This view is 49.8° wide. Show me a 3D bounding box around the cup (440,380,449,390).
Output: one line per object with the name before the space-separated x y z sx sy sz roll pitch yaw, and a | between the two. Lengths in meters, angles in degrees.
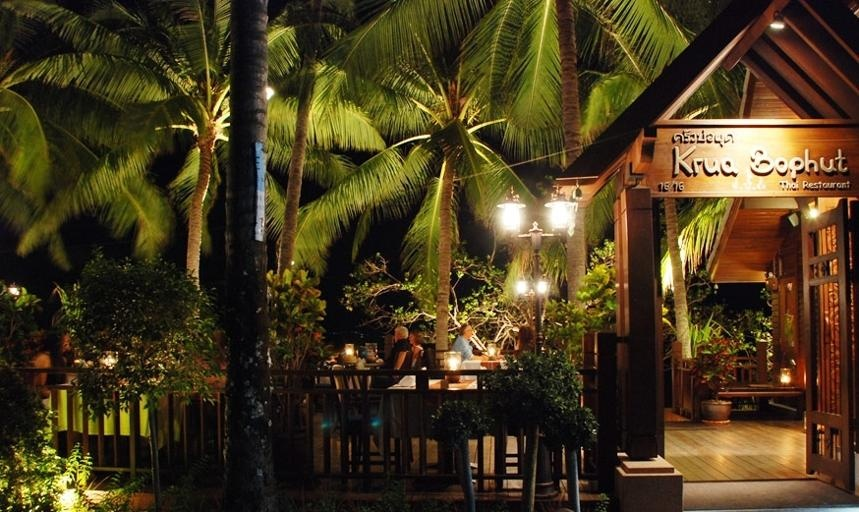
cup | 0.282 2.359 16.912 0.153 0.171 0.121 -1 -6 5

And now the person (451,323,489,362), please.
person | 1.004 2.103 22.605 0.800 0.939 0.638 -1 16 -10

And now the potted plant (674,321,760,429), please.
potted plant | 7.423 2.933 23.260 2.134 2.815 2.585 1 -6 -9

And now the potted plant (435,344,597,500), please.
potted plant | 1.385 2.720 15.993 2.199 2.880 2.420 3 -4 -2
